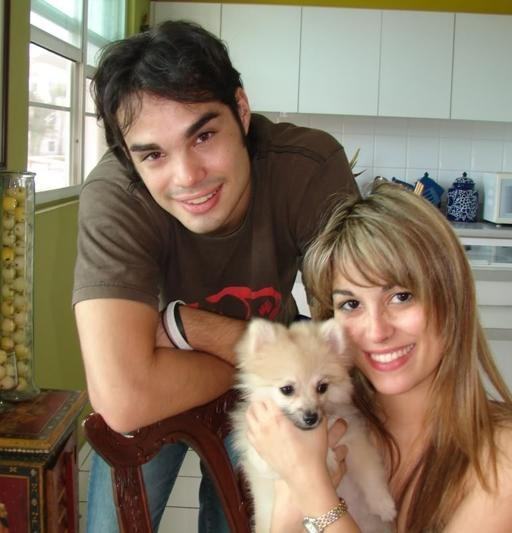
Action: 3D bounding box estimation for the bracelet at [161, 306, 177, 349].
[{"bbox_3d":[-0.217,0.158,1.325,0.034,0.086,0.073,-12,9,5],"label":"bracelet"}]

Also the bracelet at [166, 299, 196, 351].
[{"bbox_3d":[-0.211,0.151,1.305,0.037,0.104,0.089,-25,-20,27],"label":"bracelet"}]

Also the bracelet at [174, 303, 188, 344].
[{"bbox_3d":[-0.194,0.152,1.327,0.038,0.113,0.081,-2,5,-11],"label":"bracelet"}]
